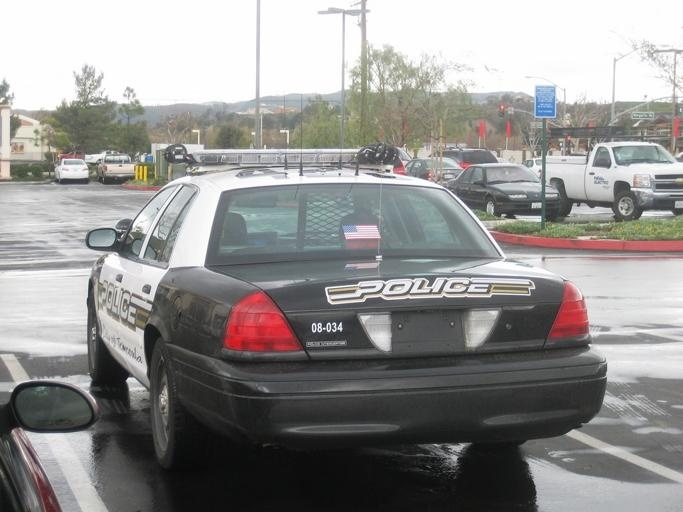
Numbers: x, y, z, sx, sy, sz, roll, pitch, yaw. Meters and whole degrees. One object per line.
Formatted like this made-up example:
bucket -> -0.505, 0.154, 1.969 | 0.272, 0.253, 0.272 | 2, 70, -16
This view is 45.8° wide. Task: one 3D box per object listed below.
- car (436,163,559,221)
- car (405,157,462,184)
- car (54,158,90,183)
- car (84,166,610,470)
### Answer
car -> 5.001, -2.062, 25.298 | 1.922, 1.207, 3.813 | 1, 3, -21
car -> 3.611, -3.347, 31.017 | 1.540, 1.031, 3.229 | -3, 11, -18
car -> -19.462, -6.150, 58.303 | 1.901, 1.700, 1.500 | 0, 7, -2
car -> -0.422, 0.165, 5.766 | 1.727, 1.101, 3.575 | 0, 7, -19
